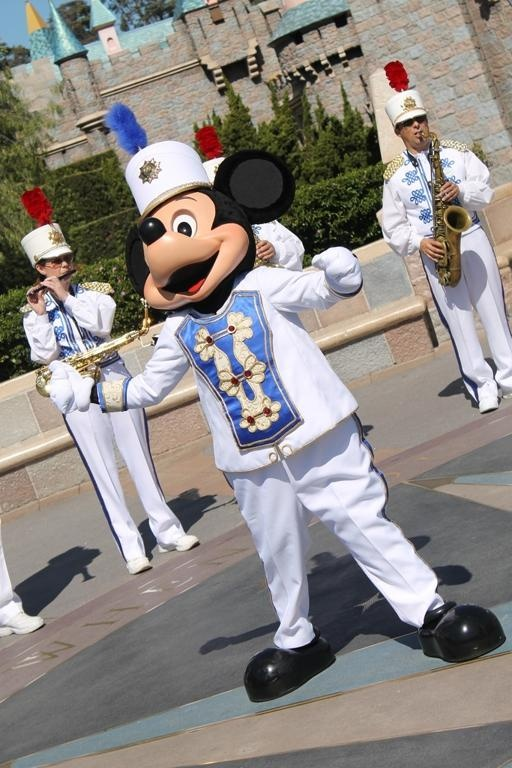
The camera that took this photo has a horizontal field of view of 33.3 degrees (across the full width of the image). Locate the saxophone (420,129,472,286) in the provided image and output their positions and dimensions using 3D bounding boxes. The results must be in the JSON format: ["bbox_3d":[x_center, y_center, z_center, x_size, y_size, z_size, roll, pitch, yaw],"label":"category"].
[{"bbox_3d":[1.094,-1.016,4.981,0.310,0.848,0.269,2,14,9],"label":"saxophone"}]

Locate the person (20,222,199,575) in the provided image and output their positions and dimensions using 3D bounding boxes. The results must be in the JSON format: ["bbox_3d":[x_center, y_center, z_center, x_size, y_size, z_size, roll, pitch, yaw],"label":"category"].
[{"bbox_3d":[-0.727,0.113,5.017,0.848,2.053,0.913,17,25,41],"label":"person"}]

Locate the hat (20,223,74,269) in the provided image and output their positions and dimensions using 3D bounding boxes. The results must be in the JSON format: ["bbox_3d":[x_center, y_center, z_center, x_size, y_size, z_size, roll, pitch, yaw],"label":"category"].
[{"bbox_3d":[-1.170,-0.785,4.892,0.250,0.271,0.228,-12,8,-25],"label":"hat"}]

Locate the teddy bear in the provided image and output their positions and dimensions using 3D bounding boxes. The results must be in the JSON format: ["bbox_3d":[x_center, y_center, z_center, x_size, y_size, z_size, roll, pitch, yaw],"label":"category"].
[{"bbox_3d":[-0.006,0.070,2.636,0.983,1.354,0.930,-29,15,4],"label":"teddy bear"}]
